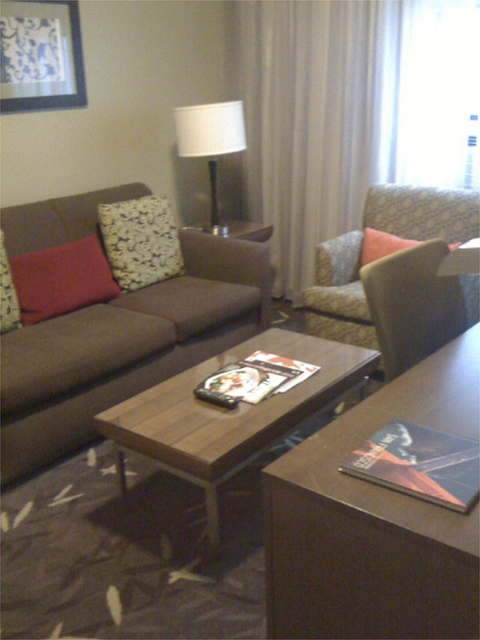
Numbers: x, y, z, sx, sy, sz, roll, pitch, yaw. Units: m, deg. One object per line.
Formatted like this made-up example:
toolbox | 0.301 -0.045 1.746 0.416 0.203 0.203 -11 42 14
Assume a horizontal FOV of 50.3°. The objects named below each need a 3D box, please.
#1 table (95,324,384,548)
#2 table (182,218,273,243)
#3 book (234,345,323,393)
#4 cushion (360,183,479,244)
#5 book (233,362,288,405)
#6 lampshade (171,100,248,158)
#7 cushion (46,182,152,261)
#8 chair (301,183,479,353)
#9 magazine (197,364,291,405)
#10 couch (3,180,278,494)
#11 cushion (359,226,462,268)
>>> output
table | 0.077 0.363 1.875 0.596 0.381 1.030 9 21 44
table | -0.085 -0.595 3.393 0.421 0.138 0.483 18 24 36
book | 0.145 0.157 1.816 0.173 0.009 0.163 19 28 38
cushion | 0.987 -0.590 2.796 0.562 0.433 0.122 11 3 33
book | 0.027 0.204 1.692 0.204 0.021 0.201 18 30 32
lampshade | -0.183 -1.235 3.259 0.450 0.305 0.449 -15 27 -16
cushion | -0.785 -0.628 2.858 0.560 0.406 0.372 -12 28 -35
chair | 0.781 -0.353 2.759 0.989 0.937 0.831 17 27 38
magazine | 0.018 0.213 1.669 0.188 0.016 0.205 14 24 38
couch | -0.682 -0.121 2.573 0.911 0.836 1.646 19 31 36
cushion | 0.778 -0.408 2.761 0.399 0.124 0.406 9 67 23
